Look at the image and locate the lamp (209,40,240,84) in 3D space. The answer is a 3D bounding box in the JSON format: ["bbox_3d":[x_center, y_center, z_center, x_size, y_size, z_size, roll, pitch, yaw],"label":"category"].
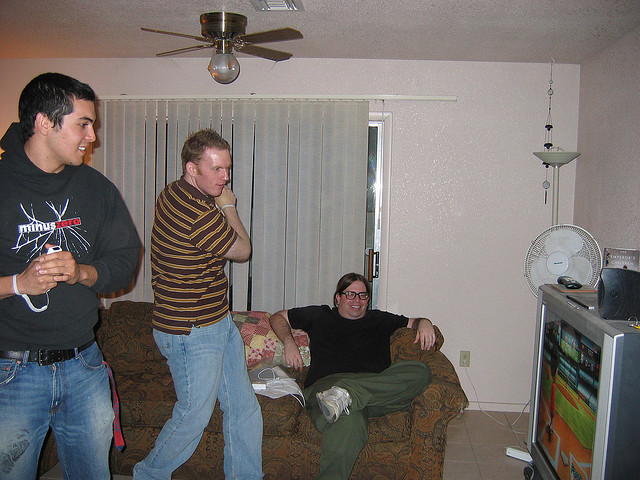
[{"bbox_3d":[-0.552,-1.024,2.814,0.246,0.263,0.248,-3,23,-16],"label":"lamp"}]

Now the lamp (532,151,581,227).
[{"bbox_3d":[1.819,-0.397,3.750,0.295,0.547,0.437,4,8,28],"label":"lamp"}]

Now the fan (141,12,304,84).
[{"bbox_3d":[-0.490,-1.150,2.924,0.626,0.237,0.645,0,-2,-5],"label":"fan"}]
